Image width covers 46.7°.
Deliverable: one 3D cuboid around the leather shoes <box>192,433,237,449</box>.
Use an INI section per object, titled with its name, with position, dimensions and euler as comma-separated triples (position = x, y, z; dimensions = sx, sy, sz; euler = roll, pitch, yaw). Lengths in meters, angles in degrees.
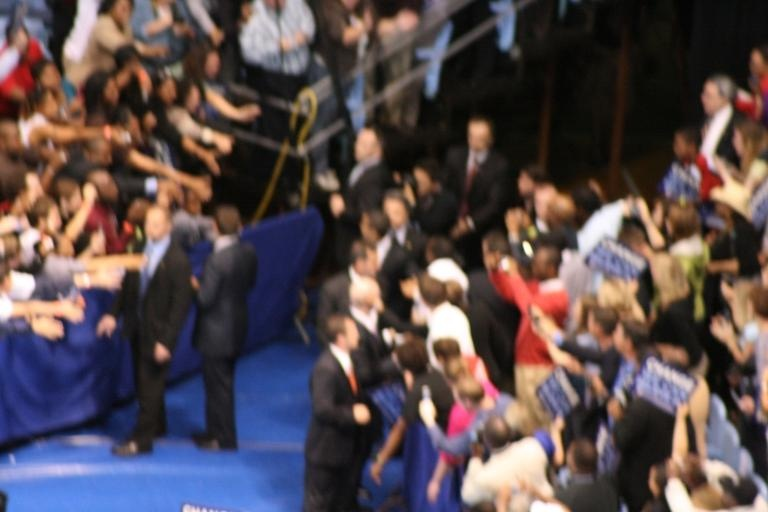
[leather shoes]
position = -1.378, 1.519, 7.160
dimensions = 0.385, 0.124, 0.064
euler = 10, 1, 13
